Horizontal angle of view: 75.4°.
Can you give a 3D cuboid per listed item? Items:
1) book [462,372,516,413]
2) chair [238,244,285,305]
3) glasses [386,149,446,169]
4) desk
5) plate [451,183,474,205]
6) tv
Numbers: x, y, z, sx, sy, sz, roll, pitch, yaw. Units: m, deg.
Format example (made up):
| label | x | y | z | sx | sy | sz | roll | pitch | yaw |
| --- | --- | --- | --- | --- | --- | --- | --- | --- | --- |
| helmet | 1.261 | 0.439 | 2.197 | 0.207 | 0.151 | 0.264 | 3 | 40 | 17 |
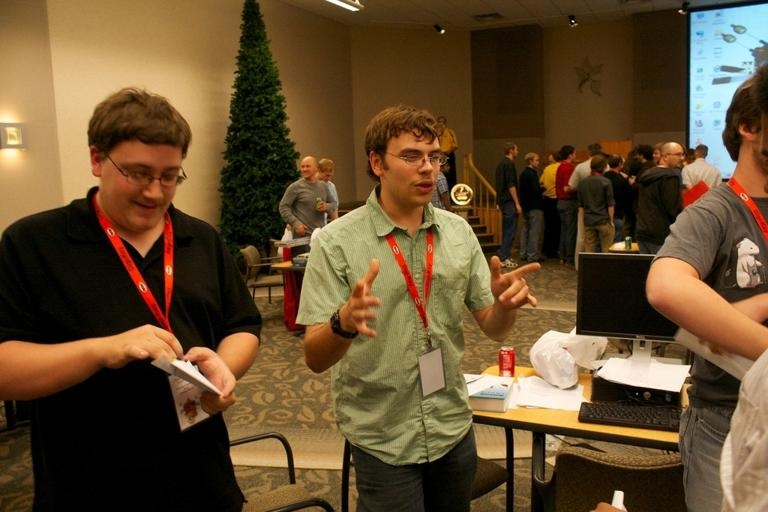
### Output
| label | x | y | z | sx | sy | sz | roll | pitch | yaw |
| --- | --- | --- | --- | --- | --- | --- | --- | --- | --- |
| book | 0.508 | 0.683 | 2.523 | 0.308 | 0.071 | 0.304 | -15 | 12 | -41 |
| chair | -1.675 | 0.338 | 7.007 | 0.546 | 0.876 | 0.586 | 0 | 9 | -2 |
| glasses | 0.150 | -0.380 | 1.966 | 0.149 | 0.082 | 0.290 | 4 | 15 | 43 |
| desk | 0.560 | 0.750 | 2.106 | 0.999 | 0.514 | 0.592 | 3 | 11 | 24 |
| plate | 1.585 | -1.322 | 10.810 | 0.460 | 0.474 | 0.118 | 3 | -6 | -29 |
| tv | 1.323 | 0.234 | 2.624 | 0.651 | 0.475 | 0.178 | 2 | 5 | 7 |
